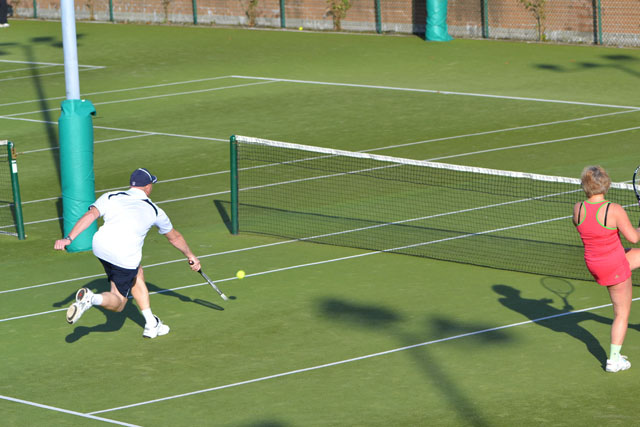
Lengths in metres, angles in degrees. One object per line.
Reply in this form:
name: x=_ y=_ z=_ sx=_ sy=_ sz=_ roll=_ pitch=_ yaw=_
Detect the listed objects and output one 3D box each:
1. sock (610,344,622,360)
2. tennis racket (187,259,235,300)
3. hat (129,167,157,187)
sock: x=4.043 y=1.879 z=12.626 sx=0.131 sy=0.241 sz=0.147 roll=3 pitch=16 yaw=16
tennis racket: x=-1.851 y=1.111 z=15.248 sx=0.085 sy=0.151 sz=0.890 roll=-32 pitch=73 yaw=-36
hat: x=-2.592 y=-0.551 z=13.405 sx=0.258 sy=0.196 sz=0.374 roll=18 pitch=27 yaw=30
